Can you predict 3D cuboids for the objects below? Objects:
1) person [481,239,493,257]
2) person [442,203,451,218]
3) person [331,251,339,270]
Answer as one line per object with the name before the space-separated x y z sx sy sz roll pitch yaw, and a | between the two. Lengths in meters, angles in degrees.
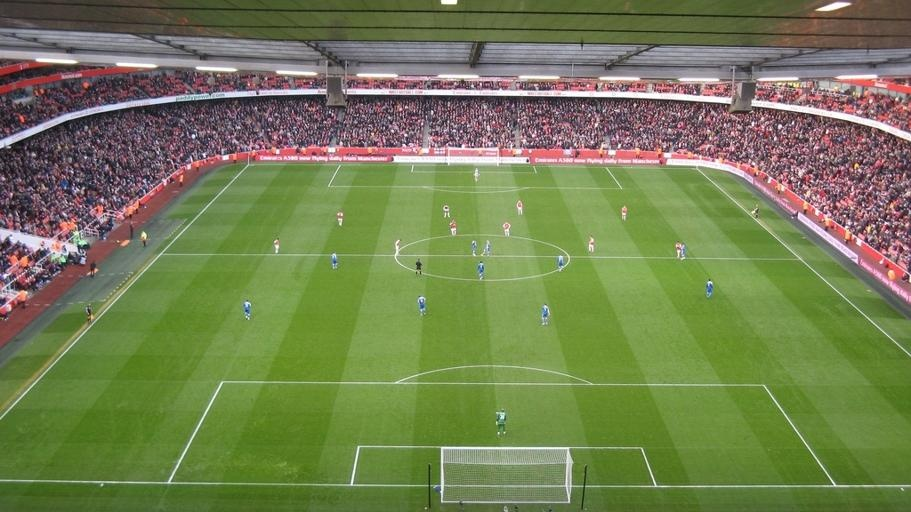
person | 2.853 -0.613 60.013 0.913 1.380 0.455 4 -71 -1
person | -0.803 -4.292 66.806 1.078 2.319 0.635 3 -73 -1
person | -9.887 0.339 57.204 0.599 1.491 1.254 10 -36 -9
